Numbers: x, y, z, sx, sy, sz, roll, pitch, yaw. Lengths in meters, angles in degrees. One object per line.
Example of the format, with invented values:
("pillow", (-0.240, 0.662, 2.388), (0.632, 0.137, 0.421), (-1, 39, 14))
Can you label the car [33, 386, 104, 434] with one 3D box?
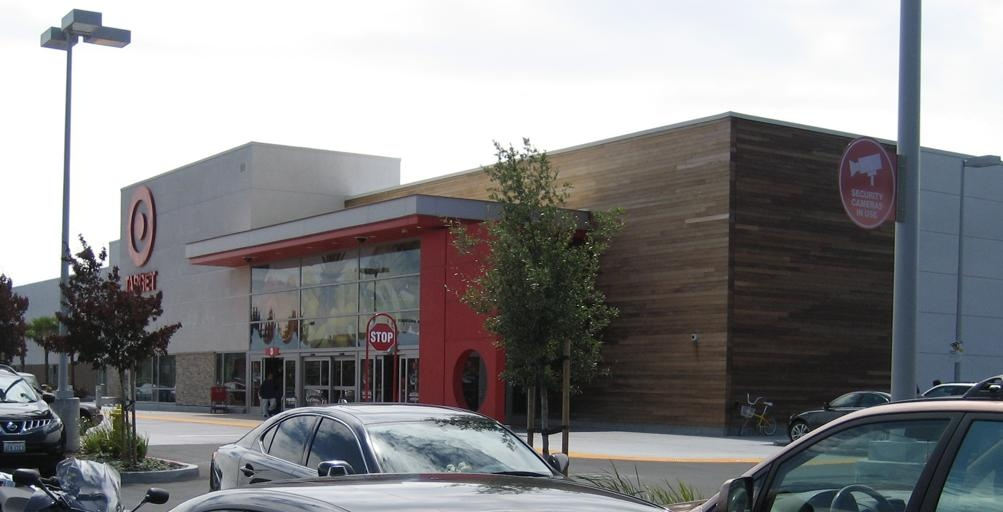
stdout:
("car", (-17.131, 5.828, 34.793), (1.563, 1.233, 3.609), (6, -2, 29))

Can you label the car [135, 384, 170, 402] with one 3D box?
("car", (-22.742, 9.100, 60.112), (2.293, 0.662, 1.482), (0, -3, 36))

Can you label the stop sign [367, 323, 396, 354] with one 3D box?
("stop sign", (-4.584, 2.992, 34.339), (0.791, 1.021, 1.348), (-9, -14, 35))

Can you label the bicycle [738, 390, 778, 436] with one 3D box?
("bicycle", (10.893, 6.940, 38.712), (2.521, 1.475, 1.179), (11, -8, -37))
